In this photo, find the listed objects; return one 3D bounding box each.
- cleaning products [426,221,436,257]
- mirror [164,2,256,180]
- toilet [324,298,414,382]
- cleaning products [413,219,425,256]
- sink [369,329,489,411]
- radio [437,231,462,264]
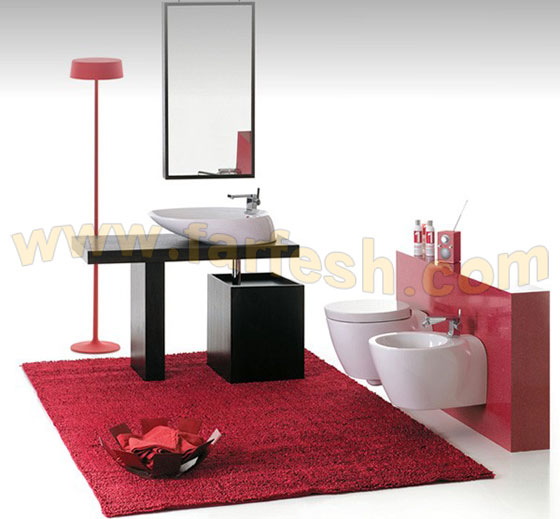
[{"bbox_3d":[0.711,-0.093,2.753,0.046,0.178,0.173,1,5,15],"label":"cleaning products"},{"bbox_3d":[-0.428,-1.046,3.623,0.570,1.088,0.135,-1,6,-5],"label":"mirror"},{"bbox_3d":[0.436,0.401,2.753,0.432,0.335,0.430,-4,1,-24],"label":"toilet"},{"bbox_3d":[0.668,-0.098,2.811,0.043,0.176,0.147,0,5,13],"label":"cleaning products"},{"bbox_3d":[0.575,0.422,2.259,0.453,0.217,0.331,-1,6,-3],"label":"sink"},{"bbox_3d":[0.752,-0.052,2.552,0.107,0.123,0.099,4,-1,30],"label":"radio"}]
